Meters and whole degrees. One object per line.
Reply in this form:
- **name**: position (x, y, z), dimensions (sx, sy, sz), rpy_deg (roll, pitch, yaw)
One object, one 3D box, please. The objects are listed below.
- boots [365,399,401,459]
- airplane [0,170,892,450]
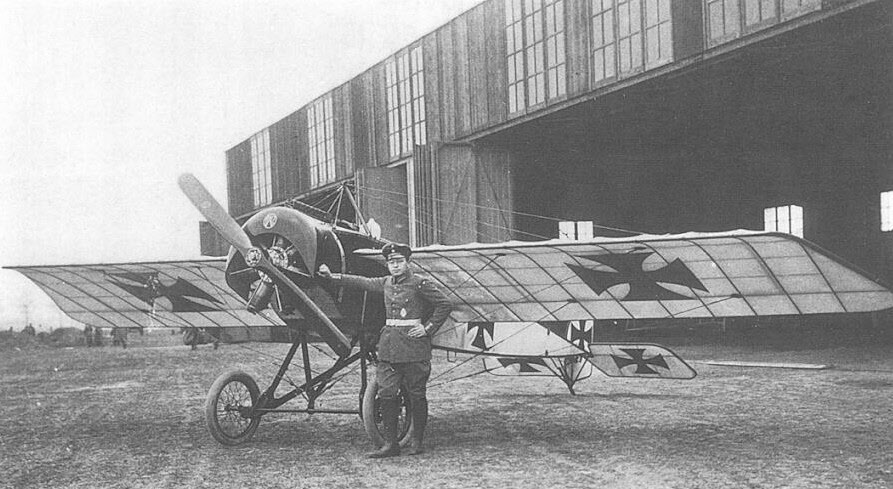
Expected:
- **boots**: position (-1.272, 3.636, 20.920), dimensions (0.682, 1.197, 0.418), rpy_deg (-2, 10, -4)
- **airplane**: position (0.799, 1.018, 25.391), dimensions (17.939, 6.051, 11.456), rpy_deg (1, 8, 13)
